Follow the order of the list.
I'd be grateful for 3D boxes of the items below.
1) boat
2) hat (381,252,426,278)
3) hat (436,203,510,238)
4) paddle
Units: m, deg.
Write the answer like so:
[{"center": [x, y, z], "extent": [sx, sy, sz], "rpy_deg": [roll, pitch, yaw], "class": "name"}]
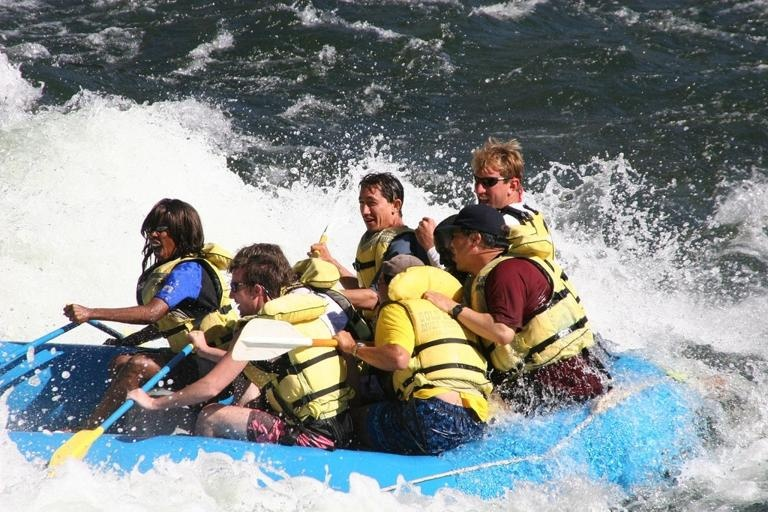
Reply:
[{"center": [0.014, 2.011, 9.845], "extent": [5.850, 1.040, 2.895], "rpy_deg": [5, 6, 2], "class": "boat"}, {"center": [0.253, 0.109, 9.785], "extent": [0.421, 0.242, 0.388], "rpy_deg": [0, 8, -31], "class": "hat"}, {"center": [0.972, -0.401, 9.868], "extent": [0.746, 0.379, 0.523], "rpy_deg": [4, 6, 14], "class": "hat"}, {"center": [-2.807, 1.555, 9.798], "extent": [0.607, 1.157, 1.691], "rpy_deg": [10, 9, 38], "class": "paddle"}]
